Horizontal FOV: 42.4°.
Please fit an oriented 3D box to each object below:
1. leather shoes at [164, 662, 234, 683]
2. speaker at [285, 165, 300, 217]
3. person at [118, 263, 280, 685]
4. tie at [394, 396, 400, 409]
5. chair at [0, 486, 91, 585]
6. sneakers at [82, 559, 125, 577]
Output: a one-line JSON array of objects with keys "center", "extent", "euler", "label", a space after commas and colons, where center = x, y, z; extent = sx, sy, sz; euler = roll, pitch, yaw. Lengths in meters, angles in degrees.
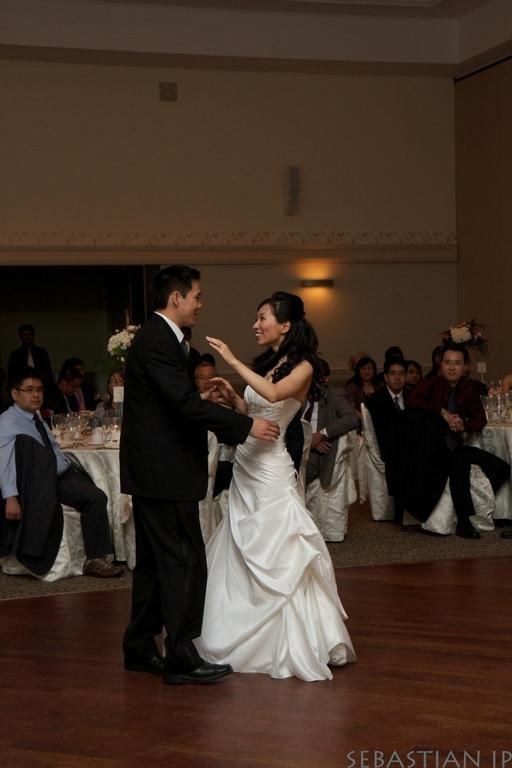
[{"center": [-0.197, 0.980, 2.275], "extent": [0.222, 0.101, 0.086], "euler": [-3, -4, -1], "label": "leather shoes"}, {"center": [0.516, -2.854, 9.743], "extent": [0.200, 0.705, 0.168], "euler": [0, -5, -13], "label": "speaker"}, {"center": [-0.273, 0.392, 2.218], "extent": [0.628, 1.252, 0.337], "euler": [-4, -5, 33], "label": "person"}, {"center": [1.195, 0.154, 5.612], "extent": [0.034, 0.125, 0.034], "euler": [21, -42, -39], "label": "tie"}, {"center": [-1.306, 0.968, 4.122], "extent": [0.486, 0.453, 0.410], "euler": [1, -1, 36], "label": "chair"}, {"center": [-0.934, 1.112, 3.980], "extent": [0.208, 0.076, 0.117], "euler": [-2, 2, 10], "label": "sneakers"}]
